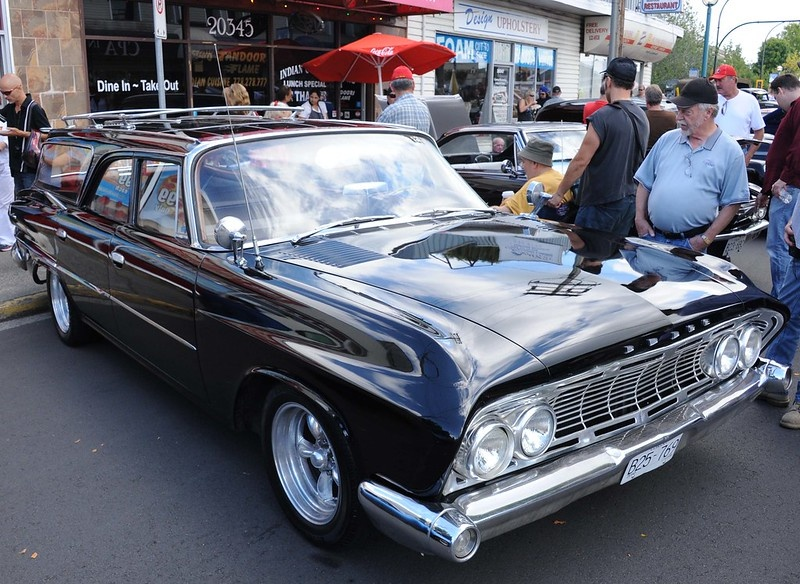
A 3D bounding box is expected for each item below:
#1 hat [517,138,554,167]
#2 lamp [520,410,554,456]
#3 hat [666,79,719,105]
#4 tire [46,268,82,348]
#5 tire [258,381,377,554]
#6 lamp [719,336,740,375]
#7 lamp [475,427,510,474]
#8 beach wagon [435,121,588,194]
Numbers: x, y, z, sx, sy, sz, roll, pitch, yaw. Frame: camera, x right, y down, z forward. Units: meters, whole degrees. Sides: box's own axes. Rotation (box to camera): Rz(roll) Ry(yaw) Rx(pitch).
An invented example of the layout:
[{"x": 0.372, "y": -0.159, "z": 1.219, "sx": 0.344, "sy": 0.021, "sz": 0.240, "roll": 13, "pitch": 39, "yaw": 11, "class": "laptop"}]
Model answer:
[{"x": 1.299, "y": -1.302, "z": 5.314, "sx": 0.282, "sy": 0.152, "sz": 0.273, "roll": 8, "pitch": 20, "yaw": -4, "class": "hat"}, {"x": 0.586, "y": 0.602, "z": 2.463, "sx": 0.177, "sy": 0.204, "sz": 0.082, "roll": 13, "pitch": -9, "yaw": -33, "class": "lamp"}, {"x": 2.200, "y": -1.473, "z": 4.166, "sx": 0.266, "sy": 0.148, "sz": 0.190, "roll": 16, "pitch": 49, "yaw": 16, "class": "hat"}, {"x": -3.032, "y": 0.141, "z": 5.058, "sx": 0.190, "sy": 0.543, "sz": 0.529, "roll": -13, "pitch": 33, "yaw": -31, "class": "tire"}, {"x": -0.385, "y": 0.851, "z": 2.719, "sx": 0.247, "sy": 0.787, "sz": 0.695, "roll": -10, "pitch": 27, "yaw": -43, "class": "tire"}, {"x": 1.832, "y": 0.361, "z": 3.123, "sx": 0.207, "sy": 0.210, "sz": 0.047, "roll": -26, "pitch": 22, "yaw": -37, "class": "lamp"}, {"x": 0.384, "y": 0.672, "z": 2.328, "sx": 0.174, "sy": 0.199, "sz": 0.065, "roll": 9, "pitch": 7, "yaw": -45, "class": "lamp"}, {"x": 1.431, "y": -1.740, "z": 8.150, "sx": 1.320, "sy": 1.045, "sz": 2.254, "roll": -22, "pitch": 26, "yaw": -39, "class": "beach wagon"}]
